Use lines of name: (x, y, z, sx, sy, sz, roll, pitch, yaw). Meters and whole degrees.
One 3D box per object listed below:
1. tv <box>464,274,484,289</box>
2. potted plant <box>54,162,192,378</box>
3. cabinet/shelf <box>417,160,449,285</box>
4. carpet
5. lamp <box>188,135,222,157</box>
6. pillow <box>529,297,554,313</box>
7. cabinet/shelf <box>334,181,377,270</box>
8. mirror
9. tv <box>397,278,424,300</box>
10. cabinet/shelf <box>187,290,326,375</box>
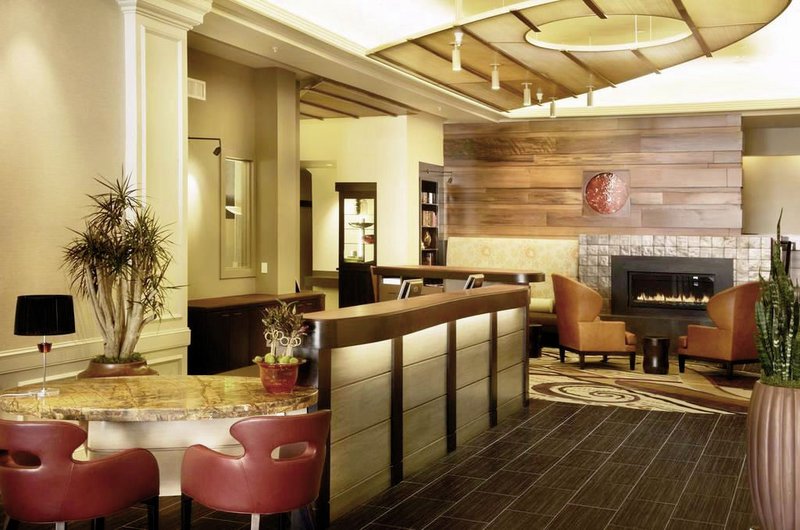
tv: (1.042, 0.224, 7.449, 0.080, 0.194, 0.256, 18, 12, 32)
potted plant: (-2.663, 0.037, 5.327, 0.977, 1.945, 1.036, -1, 5, -21)
cabinet/shelf: (0.745, -1.137, 12.215, 0.291, 2.284, 0.927, 4, 5, 34)
carpet: (3.623, 1.785, 8.306, 3.155, 0.055, 3.029, 1, 3, 11)
lamp: (-2.739, -1.704, 7.758, 0.638, 0.263, 0.091, -1, 3, 0)
pillow: (2.899, 0.818, 11.041, 0.583, 0.293, 0.358, 1, 1, 17)
cabinet/shelf: (-0.901, -0.860, 11.696, 0.903, 1.825, 0.215, 2, 5, 12)
mirror: (-2.431, -0.705, 8.284, 0.271, 1.823, 0.671, 3, 5, 22)
tv: (0.171, 0.300, 6.856, 0.128, 0.292, 0.375, 2, 0, 33)
cabinet/shelf: (-1.668, 0.754, 5.981, 0.421, 0.631, 1.370, 0, 0, 28)
